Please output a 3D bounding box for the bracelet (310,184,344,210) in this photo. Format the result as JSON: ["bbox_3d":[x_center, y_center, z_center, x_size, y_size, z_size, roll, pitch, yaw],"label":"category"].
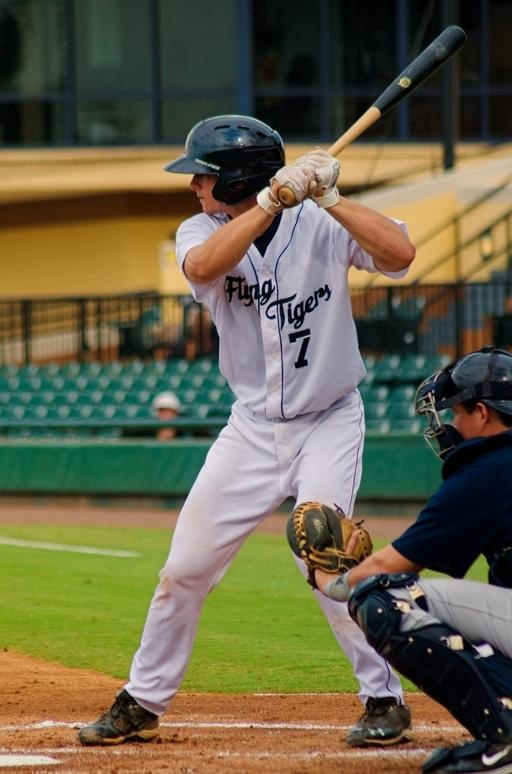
[{"bbox_3d":[0.198,-0.534,3.364,0.065,0.064,0.078,-34,-22,-24],"label":"bracelet"}]

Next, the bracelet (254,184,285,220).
[{"bbox_3d":[0.035,-0.499,3.308,0.056,0.065,0.078,-11,-5,-35],"label":"bracelet"}]

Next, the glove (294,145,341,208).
[{"bbox_3d":[0.158,-0.582,3.385,0.067,0.130,0.155,-22,33,12],"label":"glove"}]

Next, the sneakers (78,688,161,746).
[{"bbox_3d":[-0.392,0.972,3.662,0.279,0.187,0.107,3,-8,-11],"label":"sneakers"}]

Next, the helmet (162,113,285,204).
[{"bbox_3d":[-0.100,-0.684,3.674,0.315,0.234,0.246,-1,4,1],"label":"helmet"}]

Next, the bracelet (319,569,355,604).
[{"bbox_3d":[0.235,0.544,3.340,0.092,0.069,0.048,-14,14,40],"label":"bracelet"}]

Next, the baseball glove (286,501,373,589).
[{"bbox_3d":[0.230,0.434,3.403,0.241,0.184,0.114,43,-29,-25],"label":"baseball glove"}]

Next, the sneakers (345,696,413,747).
[{"bbox_3d":[0.362,0.971,3.553,0.090,0.108,0.236,-9,-11,38],"label":"sneakers"}]

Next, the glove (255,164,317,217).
[{"bbox_3d":[0.077,-0.545,3.366,0.186,0.108,0.234,1,-2,1],"label":"glove"}]
